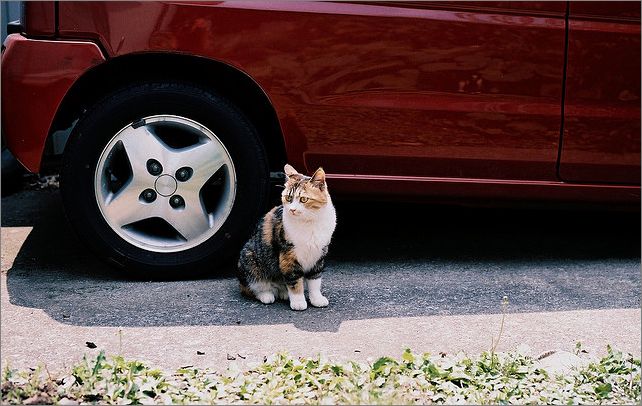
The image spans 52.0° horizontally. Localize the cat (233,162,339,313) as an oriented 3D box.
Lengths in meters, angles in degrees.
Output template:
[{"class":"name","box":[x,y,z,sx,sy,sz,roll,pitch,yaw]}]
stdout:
[{"class":"cat","box":[-0.263,0.231,4.518,0.658,0.949,0.320,2,16,22]}]
